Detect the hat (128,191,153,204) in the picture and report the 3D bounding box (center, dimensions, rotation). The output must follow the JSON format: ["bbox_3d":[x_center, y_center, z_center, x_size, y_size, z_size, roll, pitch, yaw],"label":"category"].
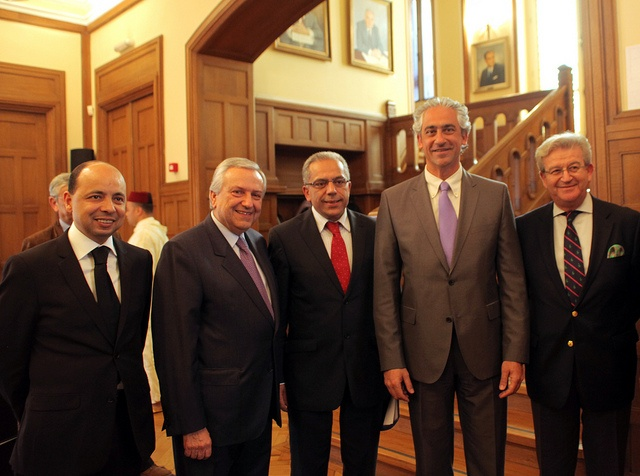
[{"bbox_3d":[-1.690,-0.371,4.970,0.180,0.111,0.128,-7,10,-40],"label":"hat"}]

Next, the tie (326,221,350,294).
[{"bbox_3d":[0.101,0.058,2.974,0.074,0.057,0.434,-6,50,-3],"label":"tie"}]

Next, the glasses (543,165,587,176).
[{"bbox_3d":[1.288,-0.348,2.770,0.184,0.060,0.065,-3,3,30],"label":"glasses"}]
